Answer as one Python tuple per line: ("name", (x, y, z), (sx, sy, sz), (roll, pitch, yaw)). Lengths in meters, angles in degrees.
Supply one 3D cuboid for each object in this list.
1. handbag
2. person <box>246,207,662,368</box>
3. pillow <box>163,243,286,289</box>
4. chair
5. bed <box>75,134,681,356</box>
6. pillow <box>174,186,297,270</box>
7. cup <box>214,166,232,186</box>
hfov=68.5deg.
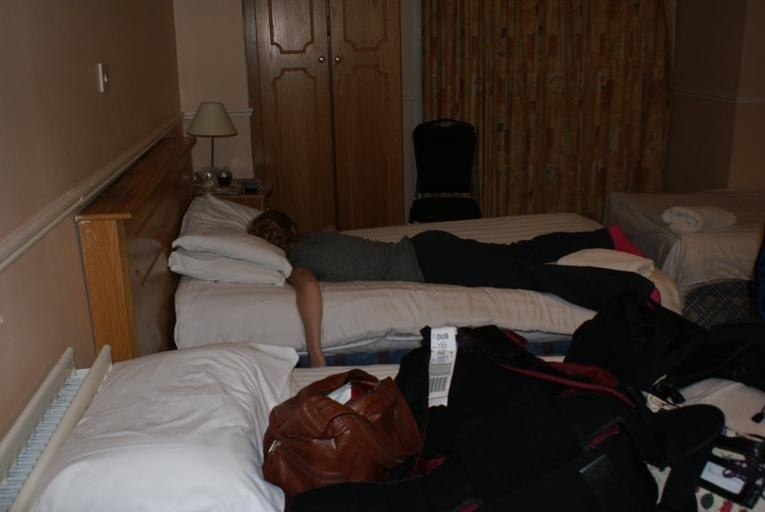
("handbag", (-0.116, 0.552, 1.828), (0.405, 0.191, 0.318), (-1, 15, -36))
("person", (0.320, 0.042, 3.054), (1.430, 0.445, 0.994), (-2, 13, 6))
("pillow", (-0.825, 0.065, 2.899), (0.314, 0.098, 0.302), (13, 5, -25))
("chair", (0.611, -0.852, 5.324), (0.604, 1.102, 0.667), (4, 33, 13))
("bed", (-0.350, -0.123, 2.682), (1.788, 0.756, 1.732), (-3, 19, -7))
("pillow", (-0.816, -0.127, 3.063), (0.568, 0.091, 0.433), (19, 28, -7))
("cup", (-1.231, -0.631, 4.390), (0.131, 0.159, 0.131), (0, 17, 0))
